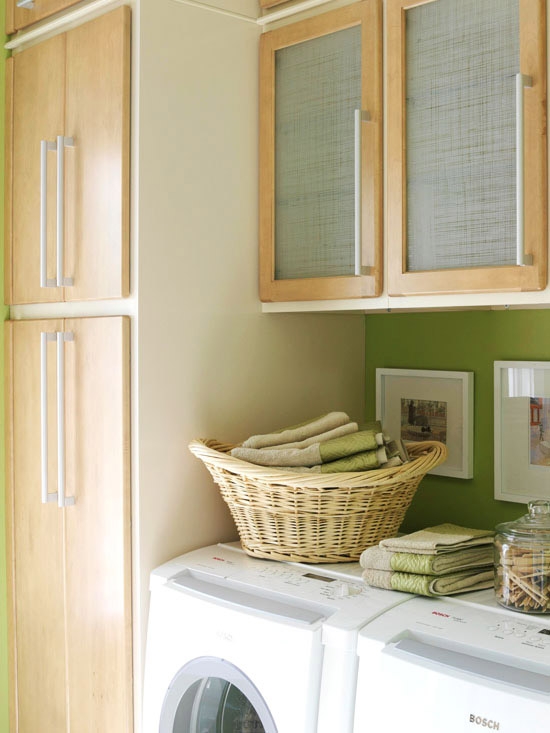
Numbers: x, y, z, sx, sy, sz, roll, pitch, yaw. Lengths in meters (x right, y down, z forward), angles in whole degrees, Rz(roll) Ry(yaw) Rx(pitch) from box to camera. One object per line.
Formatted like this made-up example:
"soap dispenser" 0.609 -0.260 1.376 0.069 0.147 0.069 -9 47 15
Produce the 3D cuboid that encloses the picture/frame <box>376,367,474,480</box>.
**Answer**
"picture/frame" 0.332 0.125 1.491 0.019 0.246 0.255 -1 1 -35

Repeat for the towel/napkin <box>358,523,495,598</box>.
"towel/napkin" 0.257 0.291 1.110 0.144 0.062 0.113 1 -5 -35
